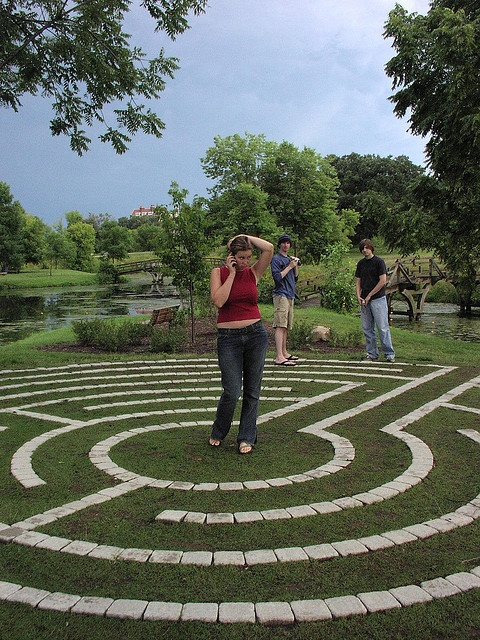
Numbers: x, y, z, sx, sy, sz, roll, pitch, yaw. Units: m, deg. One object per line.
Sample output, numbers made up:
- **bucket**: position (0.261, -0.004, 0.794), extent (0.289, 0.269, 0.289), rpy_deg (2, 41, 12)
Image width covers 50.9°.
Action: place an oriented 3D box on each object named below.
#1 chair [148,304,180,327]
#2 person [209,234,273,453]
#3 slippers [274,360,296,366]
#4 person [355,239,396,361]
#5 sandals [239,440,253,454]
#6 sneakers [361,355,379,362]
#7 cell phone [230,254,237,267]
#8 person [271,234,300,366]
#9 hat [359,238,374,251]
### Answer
- **chair**: position (-2.006, -0.089, 13.581), extent (0.398, 0.485, 1.577), rpy_deg (0, 3, 12)
- **person**: position (-0.011, 0.176, 4.221), extent (0.465, 1.759, 0.563), rpy_deg (1, 4, 29)
- **slippers**: position (0.784, 0.745, 8.504), extent (0.294, 0.078, 0.118), rpy_deg (-2, 1, 21)
- **person**: position (2.394, -0.349, 8.918), extent (0.640, 2.129, 0.795), rpy_deg (0, 3, 7)
- **sandals**: position (0.047, 1.014, 4.014), extent (0.087, 0.048, 0.184), rpy_deg (-1, -4, -2)
- **sneakers**: position (2.307, 0.691, 8.876), extent (0.296, 0.131, 0.108), rpy_deg (7, -1, 4)
- **cell phone**: position (-0.046, -0.475, 4.058), extent (0.031, 0.086, 0.067), rpy_deg (3, 5, 45)
- **person**: position (0.769, -0.328, 8.485), extent (0.425, 2.193, 0.601), rpy_deg (0, 3, 5)
- **hat**: position (2.178, -1.297, 8.679), extent (0.183, 0.209, 0.243), rpy_deg (-1, 13, 17)
